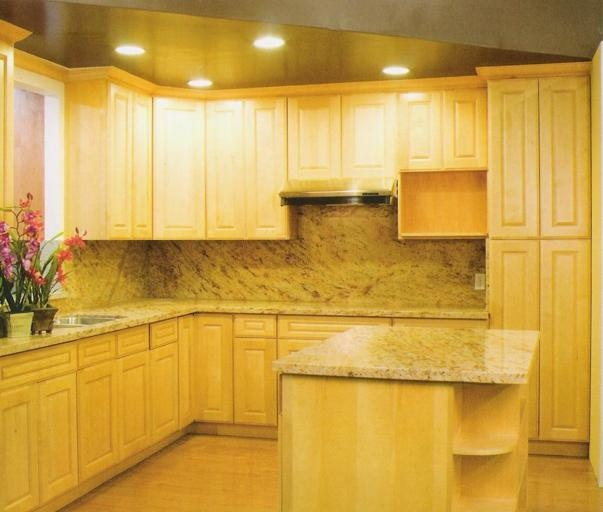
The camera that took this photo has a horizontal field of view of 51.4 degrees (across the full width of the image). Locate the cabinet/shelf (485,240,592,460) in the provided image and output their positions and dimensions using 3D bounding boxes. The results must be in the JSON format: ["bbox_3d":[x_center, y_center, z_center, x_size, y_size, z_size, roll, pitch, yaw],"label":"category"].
[{"bbox_3d":[1.671,0.556,4.394,0.702,1.561,0.510,0,-23,22],"label":"cabinet/shelf"}]
